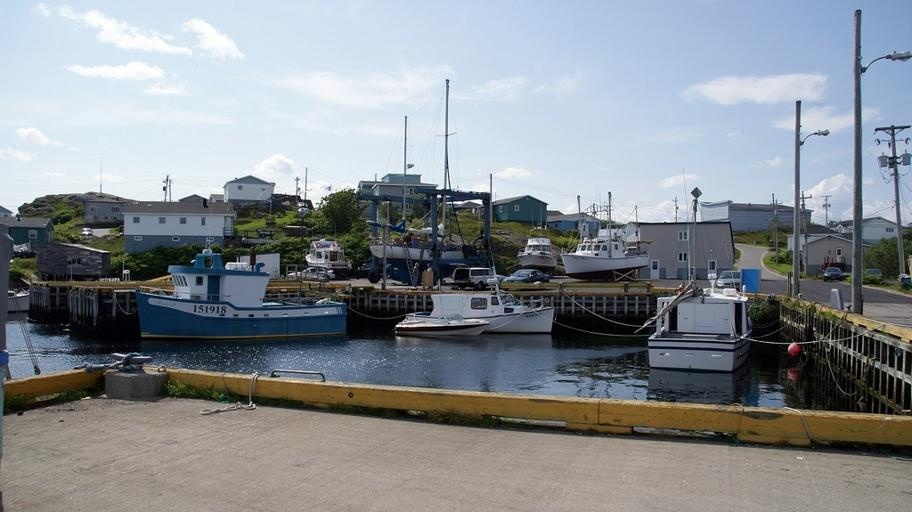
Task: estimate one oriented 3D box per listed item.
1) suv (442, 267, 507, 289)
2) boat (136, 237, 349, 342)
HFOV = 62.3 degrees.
[{"bbox_3d":[1.691,1.387,46.602,2.637,0.866,1.376,-6,7,-38],"label":"suv"},{"bbox_3d":[-10.387,1.982,35.831,8.693,4.328,1.191,-1,5,-23],"label":"boat"}]
